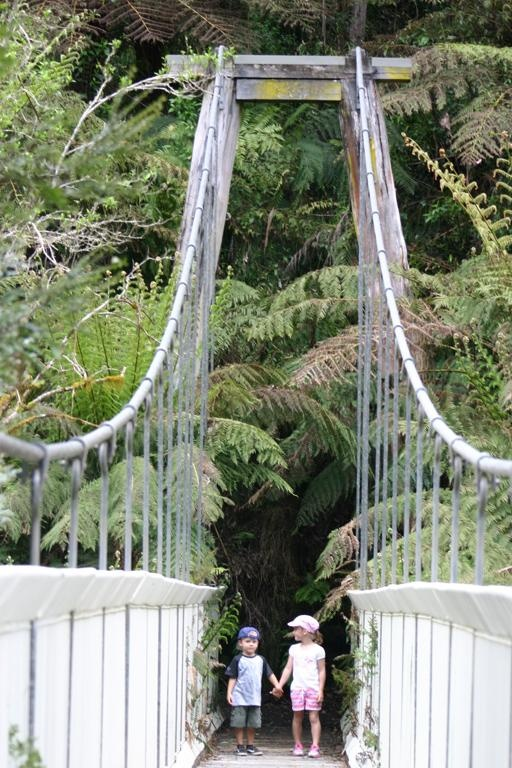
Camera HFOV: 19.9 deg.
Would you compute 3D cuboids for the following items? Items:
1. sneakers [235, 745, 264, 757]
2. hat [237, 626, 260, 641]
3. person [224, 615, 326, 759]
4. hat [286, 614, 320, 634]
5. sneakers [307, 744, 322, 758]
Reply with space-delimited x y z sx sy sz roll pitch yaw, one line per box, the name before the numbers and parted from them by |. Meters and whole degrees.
sneakers | -0.025 1.696 6.844 0.116 0.065 0.059 1 1 -4
hat | -0.034 1.249 7.333 0.058 0.066 0.096 3 -9 -2
person | 0.094 1.573 7.180 0.470 0.816 0.914 2 14 0
hat | 0.242 1.191 7.250 0.154 0.105 0.124 10 -13 6
sneakers | 0.282 1.713 6.849 0.062 0.093 0.187 -1 -13 3
